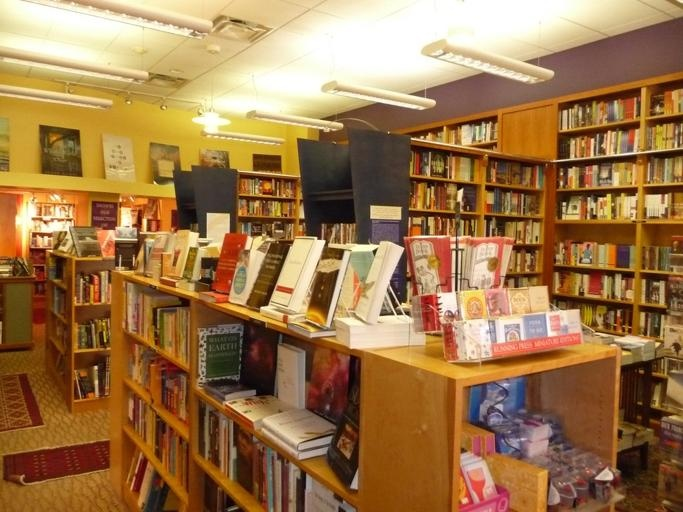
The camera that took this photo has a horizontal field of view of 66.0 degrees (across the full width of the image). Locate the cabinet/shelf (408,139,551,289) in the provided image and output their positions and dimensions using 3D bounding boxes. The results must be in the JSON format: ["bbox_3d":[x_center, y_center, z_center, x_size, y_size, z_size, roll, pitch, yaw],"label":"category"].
[{"bbox_3d":[1.472,-0.545,5.574,1.824,1.674,0.592,6,-7,-34],"label":"cabinet/shelf"}]

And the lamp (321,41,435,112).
[{"bbox_3d":[0.617,-2.241,6.971,1.905,0.197,0.615,4,-4,-32],"label":"lamp"}]

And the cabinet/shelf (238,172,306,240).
[{"bbox_3d":[-1.209,-0.859,8.838,1.370,1.305,0.400,3,-4,-37],"label":"cabinet/shelf"}]
